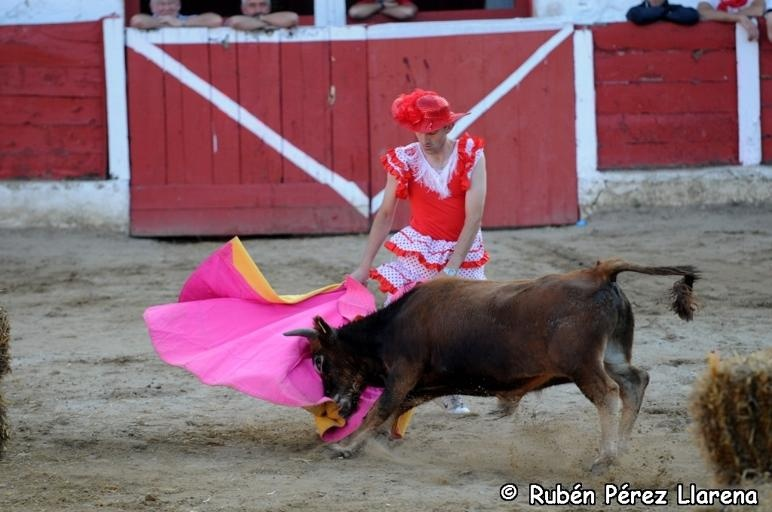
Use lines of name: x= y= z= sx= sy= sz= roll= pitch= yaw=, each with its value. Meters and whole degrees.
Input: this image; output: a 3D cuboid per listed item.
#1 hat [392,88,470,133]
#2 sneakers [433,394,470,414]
hat: x=0.369 y=-1.297 z=14.671 sx=0.534 sy=0.239 sz=0.551 roll=3 pitch=24 yaw=3
sneakers: x=0.572 y=1.248 z=14.016 sx=0.220 sy=0.066 sz=0.168 roll=10 pitch=7 yaw=32
